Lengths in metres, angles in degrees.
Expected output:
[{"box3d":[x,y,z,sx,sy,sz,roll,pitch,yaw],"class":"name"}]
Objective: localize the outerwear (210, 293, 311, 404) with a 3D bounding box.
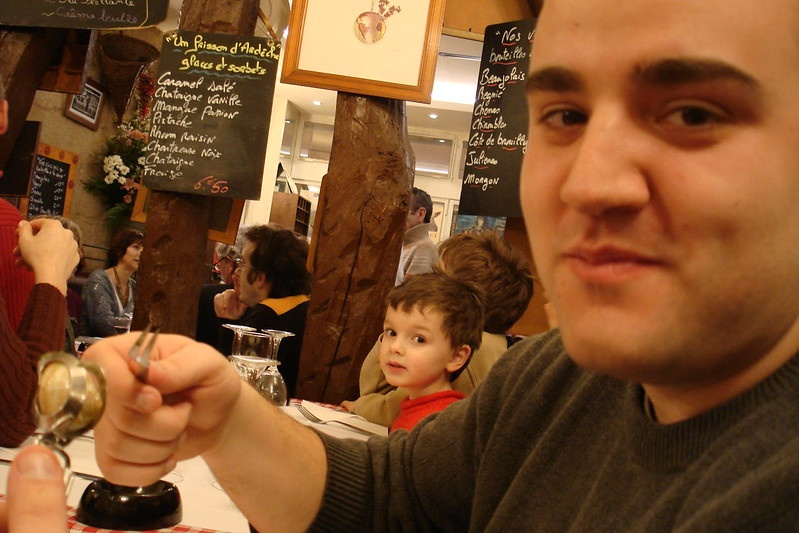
[{"box3d":[-0.492,0.299,2.262,0.345,0.236,0.437,13,43,9],"class":"outerwear"}]
